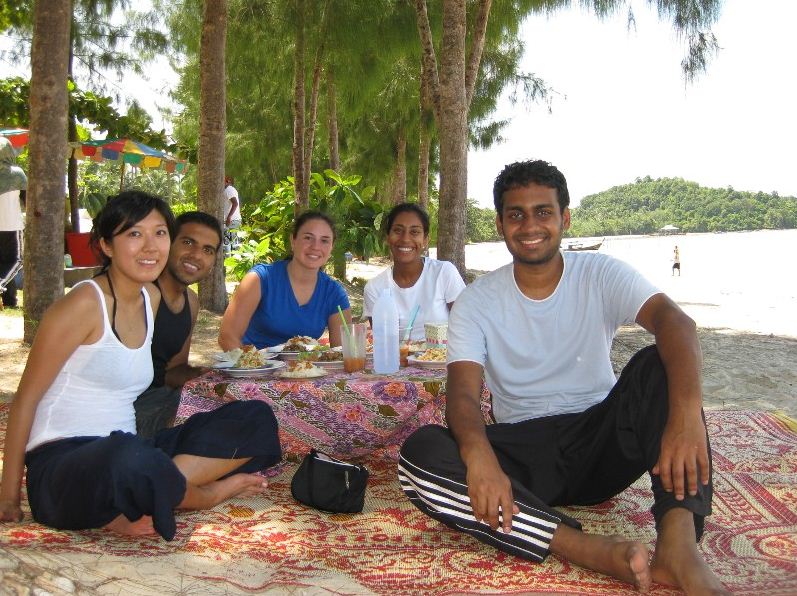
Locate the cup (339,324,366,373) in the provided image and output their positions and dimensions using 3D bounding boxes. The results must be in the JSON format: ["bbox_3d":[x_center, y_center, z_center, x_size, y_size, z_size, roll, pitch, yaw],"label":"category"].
[{"bbox_3d":[-0.234,0.254,3.786,0.136,0.250,0.144,-2,3,0],"label":"cup"}]

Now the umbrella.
[{"bbox_3d":[-4.605,-2.497,12.496,1.275,0.565,2.011,5,7,10],"label":"umbrella"}]
